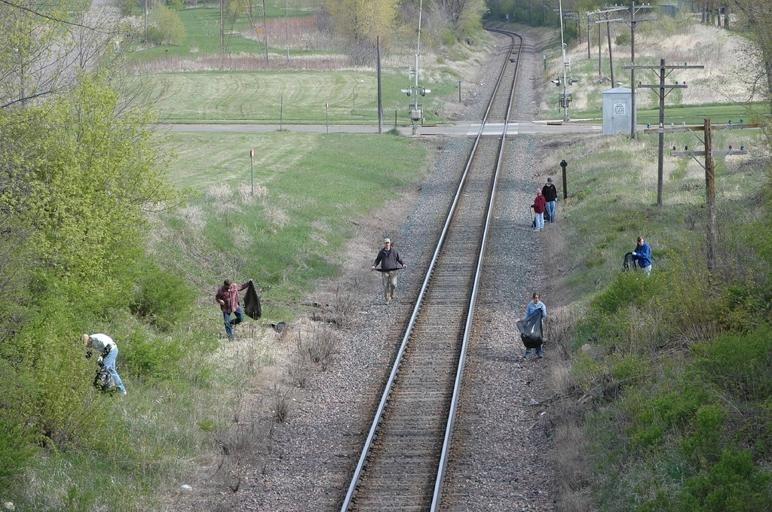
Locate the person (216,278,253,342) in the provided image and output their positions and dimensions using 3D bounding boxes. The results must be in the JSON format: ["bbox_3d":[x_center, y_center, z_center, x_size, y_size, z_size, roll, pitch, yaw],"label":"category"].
[{"bbox_3d":[-5.858,1.904,38.825,0.816,2.392,1.058,4,15,29],"label":"person"}]

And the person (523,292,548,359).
[{"bbox_3d":[5.608,2.683,37.972,0.688,2.779,0.667,-8,18,-9],"label":"person"}]

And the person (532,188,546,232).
[{"bbox_3d":[7.275,-2.211,48.853,0.554,1.957,1.329,-1,14,11],"label":"person"}]

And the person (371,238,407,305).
[{"bbox_3d":[0.144,0.522,41.698,1.104,2.742,0.762,0,27,6],"label":"person"}]

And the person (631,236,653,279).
[{"bbox_3d":[10.209,0.290,40.708,0.736,2.049,0.637,-13,14,-29],"label":"person"}]
